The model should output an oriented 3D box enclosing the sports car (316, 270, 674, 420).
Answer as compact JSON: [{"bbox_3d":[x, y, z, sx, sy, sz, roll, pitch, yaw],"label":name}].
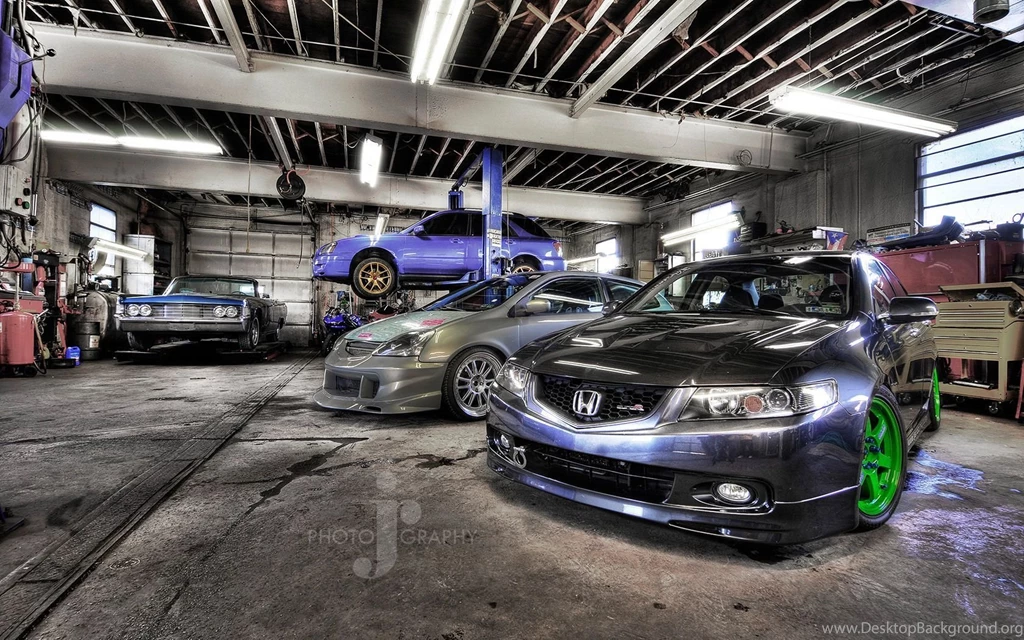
[{"bbox_3d":[-0.323,0.290,7.391,3.836,1.251,1.871,-1,-1,-28],"label":"sports car"}]

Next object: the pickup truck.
[{"bbox_3d":[-6.171,-0.147,12.035,1.739,0.941,3.050,0,-1,-5],"label":"pickup truck"}]

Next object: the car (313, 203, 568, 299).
[{"bbox_3d":[-1.585,-1.453,12.172,4.891,1.668,2.113,1,-1,-13],"label":"car"}]

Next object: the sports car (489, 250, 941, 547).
[{"bbox_3d":[1.918,0.609,5.274,4.058,2.492,1.606,-3,3,-16],"label":"sports car"}]

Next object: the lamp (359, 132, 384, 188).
[{"bbox_3d":[-2.996,-3.567,11.998,0.368,0.951,1.590,-3,3,-16],"label":"lamp"}]

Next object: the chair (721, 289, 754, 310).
[{"bbox_3d":[2.299,-0.187,5.887,0.260,0.223,0.249,4,-4,-26],"label":"chair"}]

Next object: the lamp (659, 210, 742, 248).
[{"bbox_3d":[4.850,-2.353,14.854,1.774,0.460,3.222,-1,3,12],"label":"lamp"}]

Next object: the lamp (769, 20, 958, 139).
[{"bbox_3d":[5.993,-4.411,9.582,4.178,0.423,0.876,1,21,-27],"label":"lamp"}]
